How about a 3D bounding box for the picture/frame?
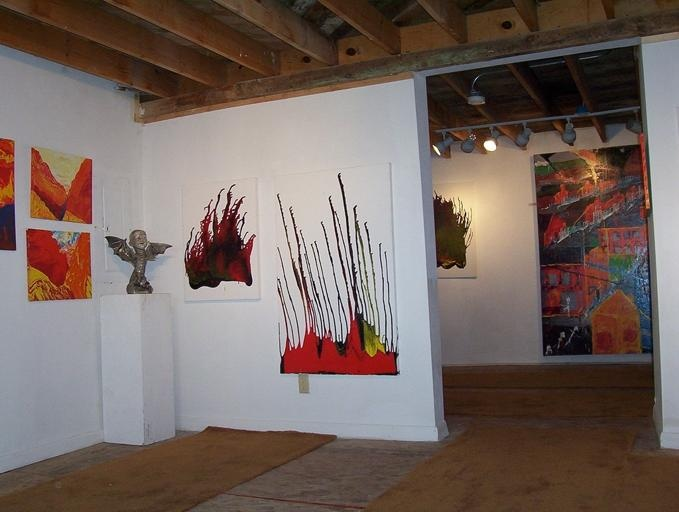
[{"bbox_3d":[3.656,-0.065,7.776,1.415,2.866,0.173,-3,-1,18],"label":"picture/frame"}]
